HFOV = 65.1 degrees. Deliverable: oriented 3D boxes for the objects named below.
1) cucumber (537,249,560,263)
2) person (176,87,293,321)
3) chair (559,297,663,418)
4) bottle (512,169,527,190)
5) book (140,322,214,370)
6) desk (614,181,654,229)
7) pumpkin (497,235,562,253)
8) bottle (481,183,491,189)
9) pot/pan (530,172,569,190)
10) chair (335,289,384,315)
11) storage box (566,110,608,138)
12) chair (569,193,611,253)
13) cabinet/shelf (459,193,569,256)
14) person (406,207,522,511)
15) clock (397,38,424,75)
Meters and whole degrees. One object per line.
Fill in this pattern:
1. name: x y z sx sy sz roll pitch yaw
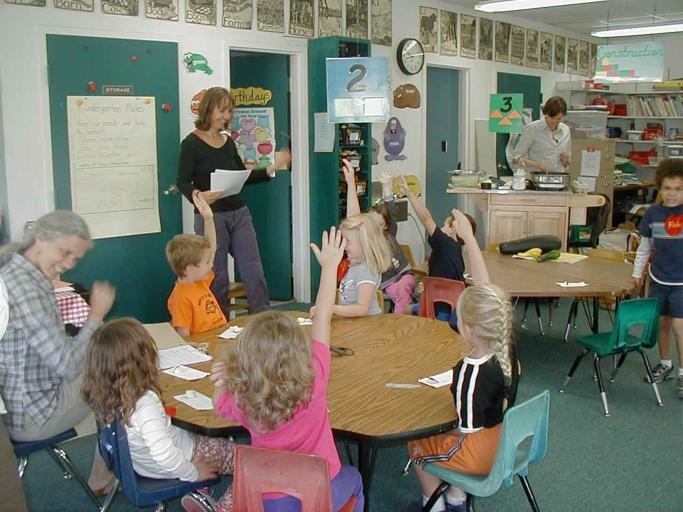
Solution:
1. cucumber: 1.922 -0.011 4.944 0.208 0.094 0.090 -6 20 -19
2. person: -0.888 -0.331 4.786 0.880 2.204 0.813 -13 32 -25
3. chair: 2.059 0.690 4.063 0.505 0.816 0.574 -5 9 -15
4. bottle: 2.019 -0.862 6.025 0.159 0.222 0.303 4 14 17
5. book: -0.913 0.503 2.937 0.243 0.127 0.336 -1 6 -43
6. desk: 4.617 -0.830 8.524 0.625 0.778 1.028 6 13 36
7. pumpkin: 1.835 -0.110 5.173 0.428 0.159 0.245 -3 2 -1
8. bottle: 1.632 -0.780 5.994 0.066 0.042 0.065 0 2 0
9. pot/pan: 2.293 -0.814 5.855 0.362 0.181 0.169 4 14 15
10. chair: 0.151 0.331 3.681 0.187 0.254 0.197 -3 -7 32
11. storage box: 4.190 -2.308 9.091 0.597 0.372 0.812 1 3 27
12. chair: 2.651 -0.386 5.961 0.371 0.551 0.378 10 3 -28
13. cabinet/shelf: 2.035 -0.110 6.154 1.112 1.094 0.660 0 0 27
14. person: 0.621 0.727 2.653 0.460 1.304 0.789 5 14 18
15. clock: 0.981 -2.745 7.390 0.428 0.443 0.080 -17 24 -37
